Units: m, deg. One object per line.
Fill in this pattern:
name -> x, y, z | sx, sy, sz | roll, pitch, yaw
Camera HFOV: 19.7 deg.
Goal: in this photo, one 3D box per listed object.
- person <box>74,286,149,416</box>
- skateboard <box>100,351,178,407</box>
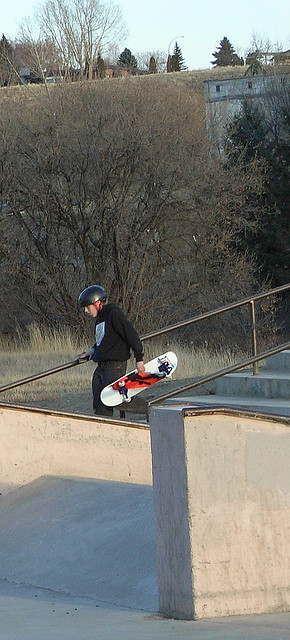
person -> -0.283, 0.377, 7.304 | 0.533, 1.475, 0.427 | 2, 14, 25
skateboard -> -0.036, 0.560, 7.657 | 0.950, 0.145, 0.240 | -29, 55, -36
